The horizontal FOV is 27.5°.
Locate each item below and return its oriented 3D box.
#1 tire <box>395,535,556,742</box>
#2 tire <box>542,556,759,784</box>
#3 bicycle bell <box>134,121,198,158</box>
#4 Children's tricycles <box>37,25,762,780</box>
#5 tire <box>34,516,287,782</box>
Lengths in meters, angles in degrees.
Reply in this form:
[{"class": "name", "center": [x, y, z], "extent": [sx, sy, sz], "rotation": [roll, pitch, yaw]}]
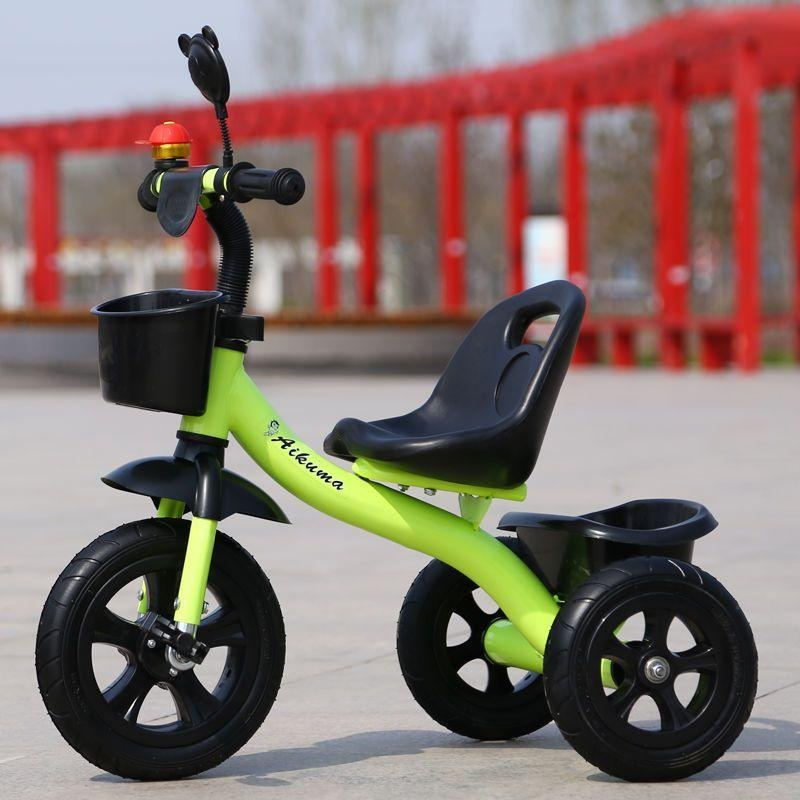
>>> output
[{"class": "tire", "center": [0.156, 0.493, 3.343], "extent": [0.383, 0.377, 0.146], "rotation": [11, -2, 1]}, {"class": "tire", "center": [0.461, 0.520, 3.101], "extent": [0.429, 0.444, 0.115], "rotation": [0, 2, -10]}, {"class": "bicycle bell", "center": [-0.456, -0.494, 3.158], "extent": [0.072, 0.063, 0.116], "rotation": [4, 5, 11]}, {"class": "Children's tricycles", "center": [-0.015, 0.080, 3.274], "extent": [1.473, 1.346, 0.898], "rotation": [0, -3, -19]}, {"class": "tire", "center": [-0.464, 0.499, 3.141], "extent": [0.483, 0.496, 0.097], "rotation": [3, -5, -15]}]
